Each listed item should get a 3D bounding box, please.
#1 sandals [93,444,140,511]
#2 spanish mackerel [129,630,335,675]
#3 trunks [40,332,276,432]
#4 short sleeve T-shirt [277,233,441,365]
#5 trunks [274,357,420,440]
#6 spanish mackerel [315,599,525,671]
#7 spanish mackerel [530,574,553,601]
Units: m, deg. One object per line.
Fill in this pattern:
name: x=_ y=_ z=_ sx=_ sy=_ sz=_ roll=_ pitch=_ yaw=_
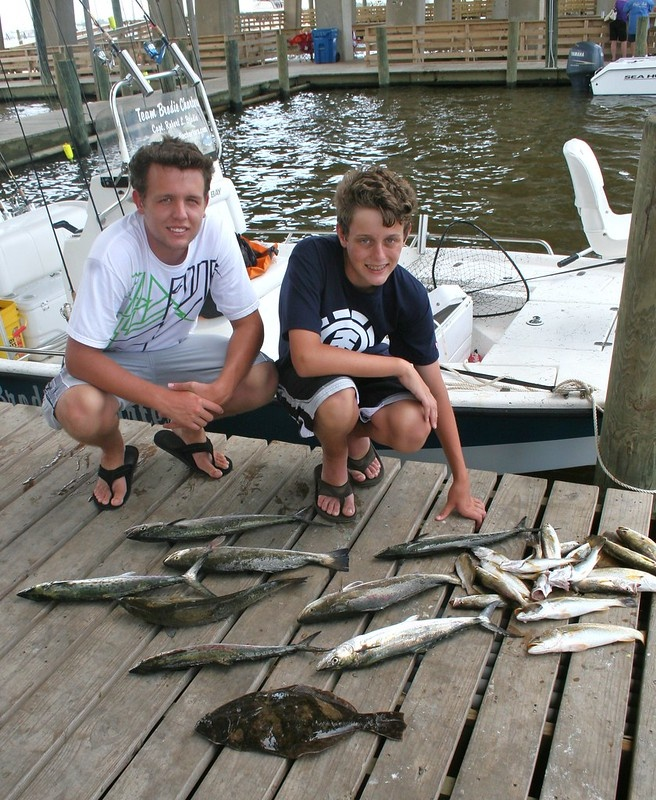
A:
sandals: x=-0.885 y=0.325 z=2.840 sx=0.130 sy=0.073 sz=0.309 roll=-1 pitch=40 yaw=7
spanish mackerel: x=-0.278 y=0.763 z=1.996 sx=0.547 sy=0.084 sz=0.088 roll=-3 pitch=-1 yaw=0
trunks: x=-0.691 y=-0.057 z=2.794 sx=0.857 sy=0.229 sz=0.417 roll=-1 pitch=34 yaw=-7
short sleeve T-shirt: x=0.098 y=-0.358 z=2.529 sx=0.586 sy=0.533 sz=0.236 roll=-12 pitch=25 yaw=-17
trunks: x=0.014 y=-0.019 z=2.594 sx=0.306 sy=0.136 sz=0.457 roll=-8 pitch=17 yaw=-32
spanish mackerel: x=0.269 y=0.723 z=2.024 sx=0.487 sy=0.100 sz=0.101 roll=-9 pitch=43 yaw=-21
spanish mackerel: x=0.681 y=0.607 z=2.169 sx=0.053 sy=0.039 sz=0.083 roll=4 pitch=63 yaw=21
